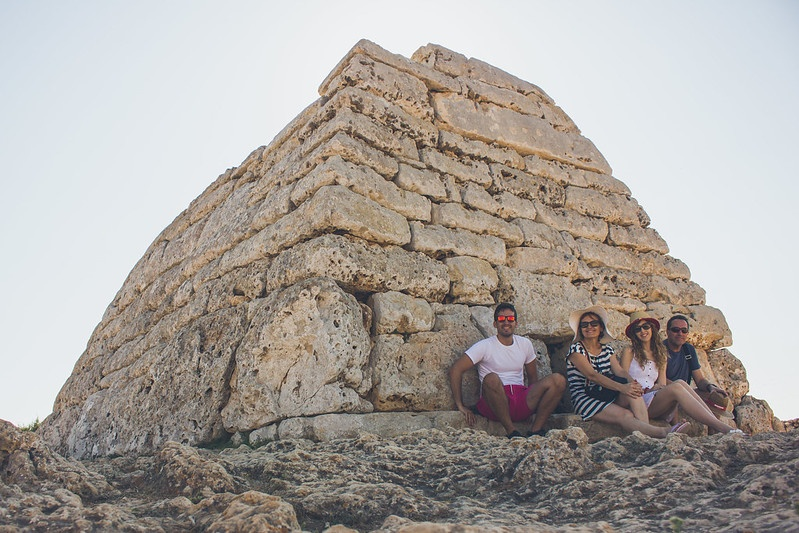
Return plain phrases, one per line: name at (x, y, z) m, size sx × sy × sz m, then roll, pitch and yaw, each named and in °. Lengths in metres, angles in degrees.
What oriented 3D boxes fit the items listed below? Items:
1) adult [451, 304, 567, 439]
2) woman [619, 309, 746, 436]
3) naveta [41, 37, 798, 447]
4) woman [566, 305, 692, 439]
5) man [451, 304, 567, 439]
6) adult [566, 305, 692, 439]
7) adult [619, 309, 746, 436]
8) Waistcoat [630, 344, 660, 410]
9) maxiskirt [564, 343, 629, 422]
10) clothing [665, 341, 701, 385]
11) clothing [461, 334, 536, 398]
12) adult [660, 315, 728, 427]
adult at (1.013, 0.987, 9.813) m, size 0.891 × 1.334 × 0.820 m, roll 0°, pitch -5°, yaw -19°
woman at (2.592, 0.954, 9.587) m, size 0.565 × 1.042 × 1.298 m, roll -3°, pitch 3°, yaw -33°
naveta at (-0.238, 0.043, 13.440) m, size 8.434 × 4.197 × 8.949 m, roll -2°, pitch -10°, yaw 0°
woman at (2.074, 0.983, 9.593) m, size 0.486 × 1.159 × 1.274 m, roll -6°, pitch 9°, yaw -35°
man at (1.031, 0.989, 9.799) m, size 1.028 × 1.328 × 0.883 m, roll -3°, pitch -4°, yaw 2°
adult at (2.078, 0.952, 9.586) m, size 0.482 × 1.142 × 1.305 m, roll -4°, pitch 8°, yaw -35°
adult at (2.575, 0.983, 9.612) m, size 0.604 × 1.031 × 1.235 m, roll -4°, pitch 4°, yaw -35°
Waistcoat at (2.293, 1.060, 9.747) m, size 0.365 × 0.536 × 0.277 m, roll 13°, pitch -28°, yaw -21°
maxiskirt at (1.928, 1.058, 9.860) m, size 0.580 × 0.835 × 0.613 m, roll 0°, pitch 11°, yaw -19°
clothing at (2.757, 0.889, 10.236) m, size 0.441 × 0.453 × 0.237 m, roll -3°, pitch 26°, yaw 23°
clothing at (0.946, 0.900, 9.988) m, size 0.811 × 0.597 × 0.399 m, roll 5°, pitch -25°, yaw -17°
adult at (2.811, 0.992, 10.003) m, size 0.442 × 1.002 × 0.966 m, roll -3°, pitch 11°, yaw -22°
